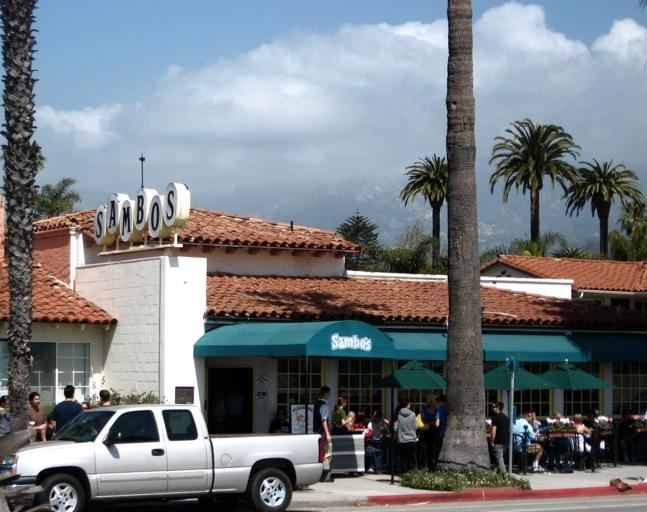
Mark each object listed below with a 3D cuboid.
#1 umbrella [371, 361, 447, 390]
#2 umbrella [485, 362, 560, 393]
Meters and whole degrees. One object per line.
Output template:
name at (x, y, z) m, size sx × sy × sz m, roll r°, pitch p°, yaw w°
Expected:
umbrella at (2.464, 3.336, 33.726) m, size 1.840 × 0.822 × 1.987 m, roll -1°, pitch -8°, yaw -9°
umbrella at (5.407, 3.537, 34.154) m, size 1.206 × 0.529 × 1.260 m, roll 1°, pitch -3°, yaw -13°
